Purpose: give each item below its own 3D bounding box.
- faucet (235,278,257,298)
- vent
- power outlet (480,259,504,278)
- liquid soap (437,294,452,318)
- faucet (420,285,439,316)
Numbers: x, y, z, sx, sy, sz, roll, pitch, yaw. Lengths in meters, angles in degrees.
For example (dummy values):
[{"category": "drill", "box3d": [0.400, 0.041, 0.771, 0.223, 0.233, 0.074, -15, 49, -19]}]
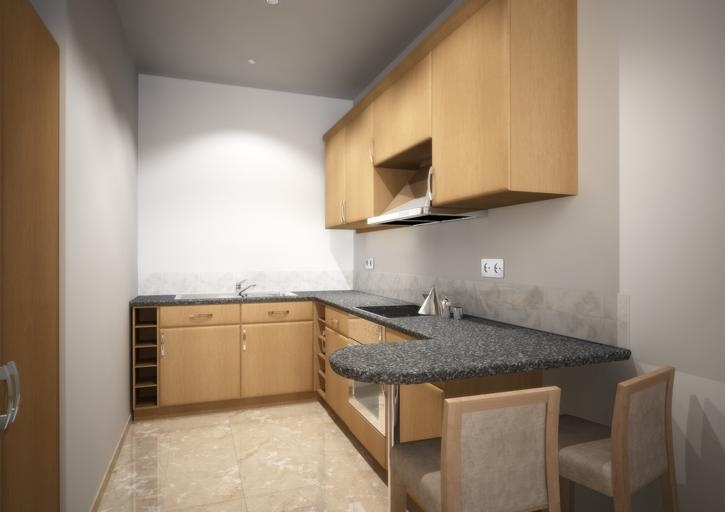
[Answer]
[{"category": "faucet", "box3d": [-1.124, 0.305, 4.672, 0.141, 0.195, 0.155, 2, 1, -13]}, {"category": "vent", "box3d": [0.336, -0.464, 3.550, 0.379, 0.417, 0.794, 6, 18, 26]}, {"category": "power outlet", "box3d": [0.829, 0.074, 3.153, 0.033, 0.137, 0.210, -5, 11, -23]}, {"category": "liquid soap", "box3d": [0.554, 0.348, 3.298, 0.107, 0.178, 0.119, -3, -4, 39]}, {"category": "faucet", "box3d": [0.477, 0.320, 3.495, 0.160, 0.187, 0.114, 8, 4, 15]}]
